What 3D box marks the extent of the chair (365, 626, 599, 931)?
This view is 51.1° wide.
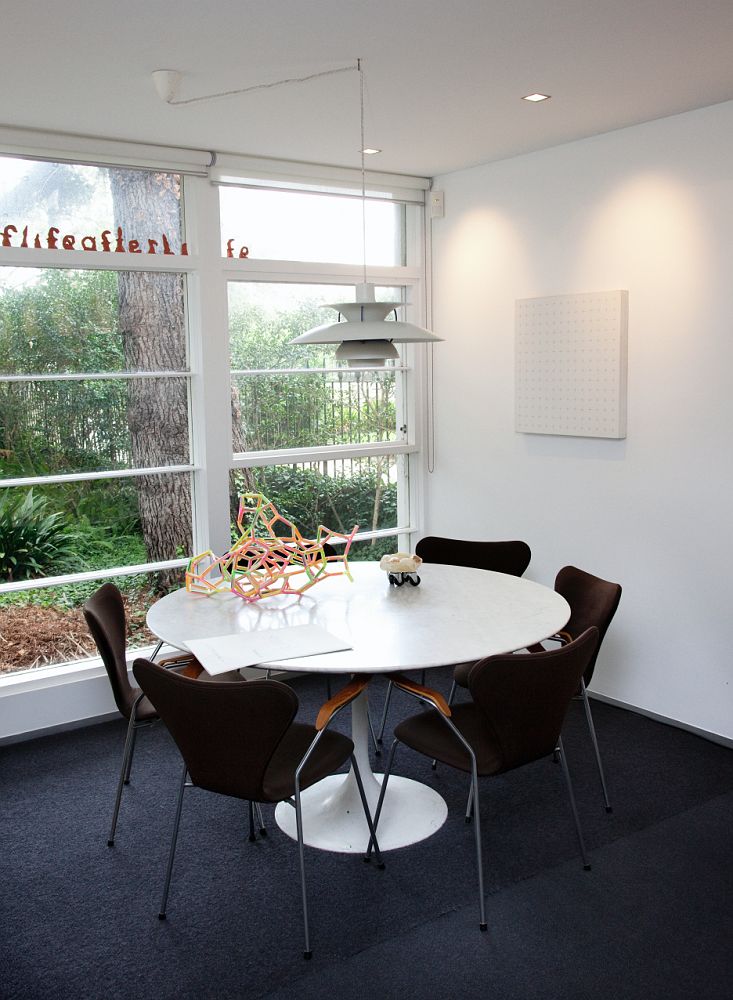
[{"bbox_3d":[0.329,0.761,2.297,0.569,0.756,0.575,-5,7,-44],"label":"chair"}]

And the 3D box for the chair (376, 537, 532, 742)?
[{"bbox_3d":[0.441,0.651,3.713,0.643,0.736,1.086,14,49,-12],"label":"chair"}]

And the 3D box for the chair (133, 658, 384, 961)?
[{"bbox_3d":[-0.283,0.771,2.136,0.501,0.755,0.567,0,8,14],"label":"chair"}]

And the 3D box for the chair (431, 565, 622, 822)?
[{"bbox_3d":[0.505,0.650,3.134,0.791,1.146,0.737,-1,3,-18],"label":"chair"}]

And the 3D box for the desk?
[{"bbox_3d":[-0.095,0.691,2.708,1.088,0.610,1.060,-22,16,-20],"label":"desk"}]
